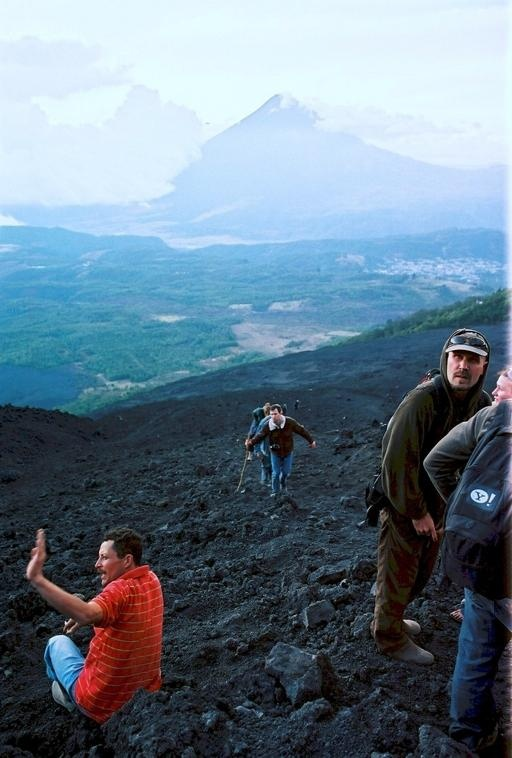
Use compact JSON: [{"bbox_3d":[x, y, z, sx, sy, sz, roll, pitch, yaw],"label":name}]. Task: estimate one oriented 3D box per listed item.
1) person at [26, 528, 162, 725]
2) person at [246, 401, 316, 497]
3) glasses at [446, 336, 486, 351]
[{"bbox_3d":[-0.841,1.281,3.045,0.656,1.142,1.018,1,4,-2],"label":"person"},{"bbox_3d":[0.248,0.978,7.563,0.787,1.419,0.807,-2,14,-14],"label":"person"},{"bbox_3d":[1.148,-0.182,3.058,0.213,0.093,0.143,6,14,17],"label":"glasses"}]
